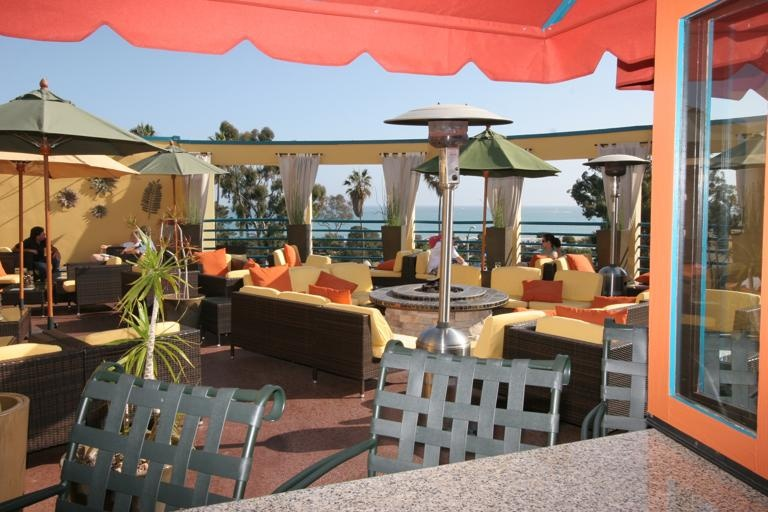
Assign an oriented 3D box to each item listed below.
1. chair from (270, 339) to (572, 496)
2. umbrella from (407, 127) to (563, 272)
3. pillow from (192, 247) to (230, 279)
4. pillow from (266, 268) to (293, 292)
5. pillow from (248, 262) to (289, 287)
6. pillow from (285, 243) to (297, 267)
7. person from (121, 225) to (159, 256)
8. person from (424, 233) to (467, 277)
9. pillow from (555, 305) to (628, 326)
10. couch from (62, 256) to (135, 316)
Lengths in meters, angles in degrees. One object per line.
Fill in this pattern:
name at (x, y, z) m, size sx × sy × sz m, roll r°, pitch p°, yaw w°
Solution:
chair at (0.192, 0.566, 1.988) m, size 0.831 × 0.473 × 0.476 m, roll 1°, pitch 6°, yaw 12°
umbrella at (1.314, -0.854, 8.383) m, size 2.394 × 1.981 × 2.171 m, roll -1°, pitch 4°, yaw -13°
pillow at (-2.539, 0.141, 8.517) m, size 0.455 × 0.417 × 0.158 m, roll -12°, pitch -17°, yaw -32°
pillow at (-1.298, 0.322, 7.242) m, size 0.073 × 0.216 × 0.235 m, roll -7°, pitch -41°, yaw 31°
pillow at (-1.449, 0.257, 7.309) m, size 0.321 × 0.186 × 0.106 m, roll -6°, pitch -6°, yaw -32°
pillow at (-1.519, 0.017, 9.447) m, size 0.145 × 0.227 × 0.368 m, roll -4°, pitch 12°, yaw 3°
person at (-3.374, -0.198, 7.910) m, size 0.682 × 0.230 × 0.824 m, roll -1°, pitch 7°, yaw -21°
person at (0.936, 0.055, 8.832) m, size 0.560 × 0.811 × 0.371 m, roll 6°, pitch 23°, yaw 1°
pillow at (1.589, 0.432, 4.435) m, size 0.454 × 0.115 × 0.432 m, roll 2°, pitch 5°, yaw 22°
couch at (-4.229, 0.304, 8.892) m, size 1.064 × 0.864 × 1.234 m, roll -1°, pitch 3°, yaw -35°
